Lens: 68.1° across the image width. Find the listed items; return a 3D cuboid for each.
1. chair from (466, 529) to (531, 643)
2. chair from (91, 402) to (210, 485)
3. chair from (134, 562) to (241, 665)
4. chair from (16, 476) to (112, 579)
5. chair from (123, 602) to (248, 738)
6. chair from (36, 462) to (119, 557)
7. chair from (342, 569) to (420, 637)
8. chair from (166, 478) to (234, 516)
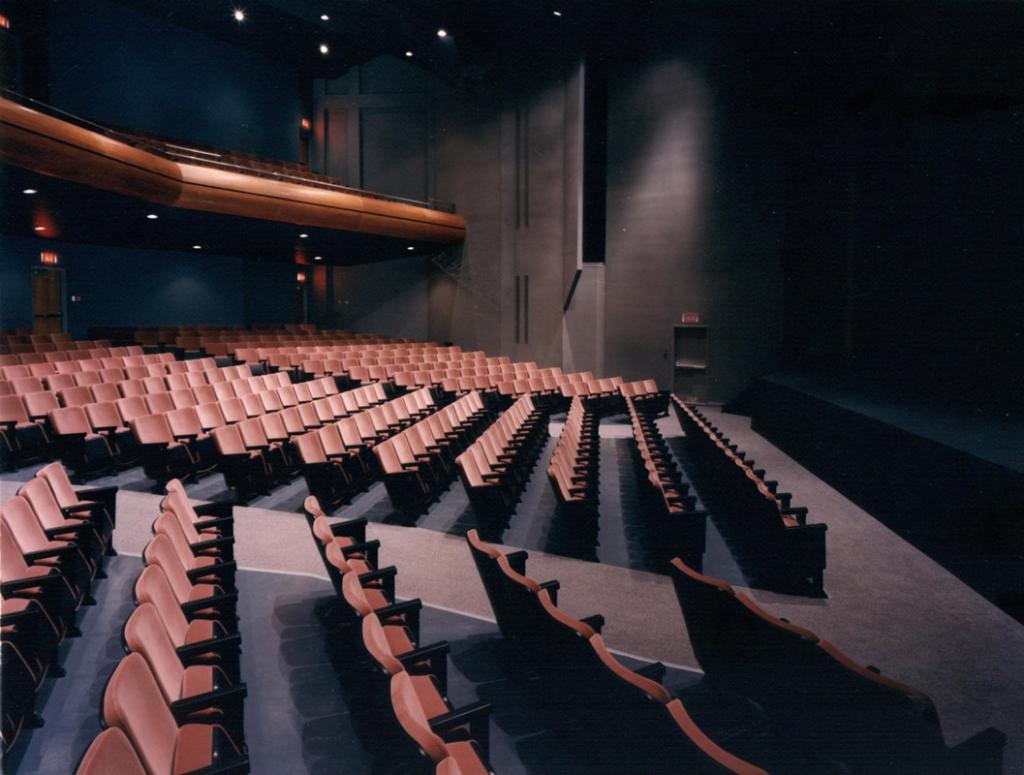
[{"bbox_3d":[-0.056,0.745,3.018,0.288,0.422,0.309,-12,-1,-13],"label":"chair"},{"bbox_3d":[-2.112,0.382,4.735,0.318,0.447,0.490,9,12,42],"label":"chair"},{"bbox_3d":[-1.099,0.826,2.591,0.301,0.339,0.262,0,40,-18],"label":"chair"},{"bbox_3d":[-1.914,0.576,3.312,0.343,0.371,0.357,-4,7,23],"label":"chair"},{"bbox_3d":[-1.050,0.928,2.506,0.302,0.349,0.274,-19,-16,-33],"label":"chair"},{"bbox_3d":[-1.998,0.573,3.490,0.297,0.402,0.282,1,7,-20],"label":"chair"},{"bbox_3d":[-0.483,0.799,2.847,0.273,0.326,0.231,-5,11,-23],"label":"chair"},{"bbox_3d":[-1.624,0.567,3.935,0.277,0.316,0.228,0,2,-6],"label":"chair"}]
